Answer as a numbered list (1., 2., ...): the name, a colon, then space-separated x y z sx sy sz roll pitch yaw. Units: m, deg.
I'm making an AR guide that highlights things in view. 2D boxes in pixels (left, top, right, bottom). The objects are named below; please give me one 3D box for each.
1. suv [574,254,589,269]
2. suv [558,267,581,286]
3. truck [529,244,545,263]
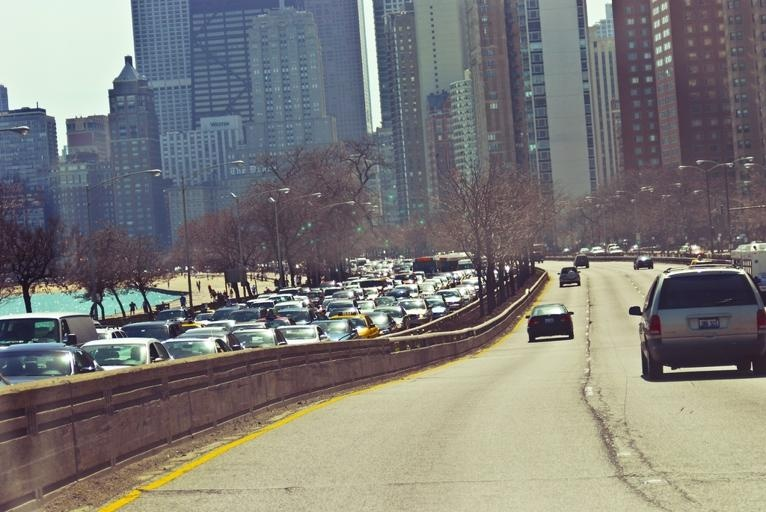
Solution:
1. suv: 20.681 0.821 115.332 1.357 1.162 2.522 -1 10 13
2. suv: 14.656 1.768 87.059 1.086 0.891 1.917 -1 8 7
3. truck: 17.820 -0.149 128.283 2.174 2.108 3.854 0 9 7
